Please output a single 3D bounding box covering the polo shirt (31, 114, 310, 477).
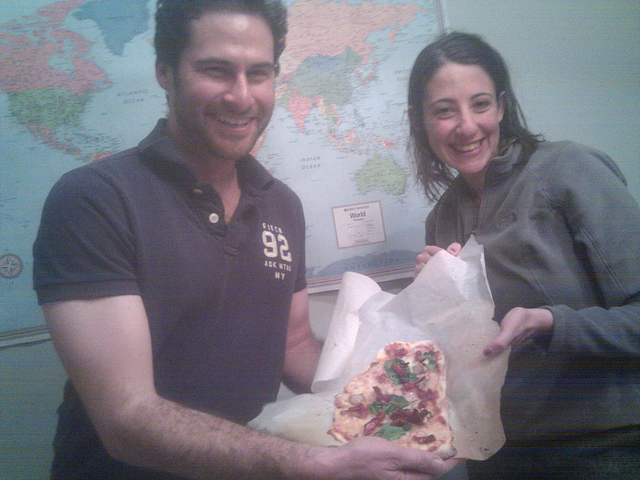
[{"bbox_3d":[-0.342,0.089,1.507,0.328,0.829,0.682,3,19,37],"label":"polo shirt"}]

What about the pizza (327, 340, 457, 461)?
[{"bbox_3d":[0.165,0.372,1.317,0.283,0.210,0.199,-4,15,11],"label":"pizza"}]
